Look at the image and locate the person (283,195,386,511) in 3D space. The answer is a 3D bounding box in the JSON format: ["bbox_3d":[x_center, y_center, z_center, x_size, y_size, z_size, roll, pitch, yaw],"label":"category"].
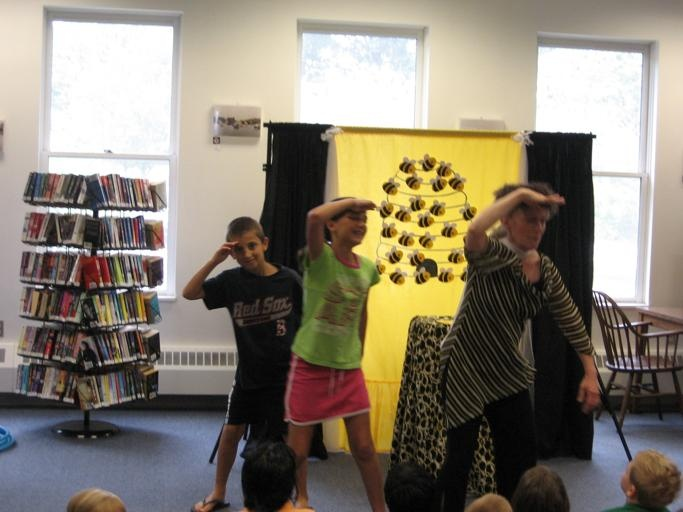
[{"bbox_3d":[-0.025,0.525,3.146,0.548,1.667,0.306,0,6,-6],"label":"person"}]

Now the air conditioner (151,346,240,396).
[{"bbox_3d":[-1.290,1.006,5.038,0.742,0.423,0.180,3,-6,-2],"label":"air conditioner"}]

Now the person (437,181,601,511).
[{"bbox_3d":[0.866,0.431,2.833,0.740,1.565,0.443,2,7,11],"label":"person"}]

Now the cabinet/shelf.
[{"bbox_3d":[-2.095,0.371,5.006,0.714,2.162,1.107,2,1,25],"label":"cabinet/shelf"}]
